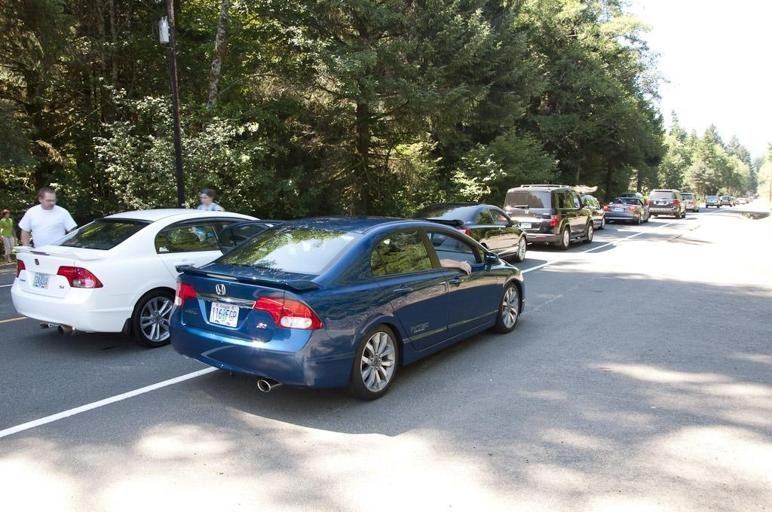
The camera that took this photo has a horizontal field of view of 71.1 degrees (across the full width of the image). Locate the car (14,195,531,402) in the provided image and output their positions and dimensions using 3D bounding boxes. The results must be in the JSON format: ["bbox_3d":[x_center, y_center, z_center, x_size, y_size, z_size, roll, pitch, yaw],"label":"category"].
[{"bbox_3d":[0.142,0.231,8.011,2.561,1.709,5.585,4,9,40],"label":"car"}]
